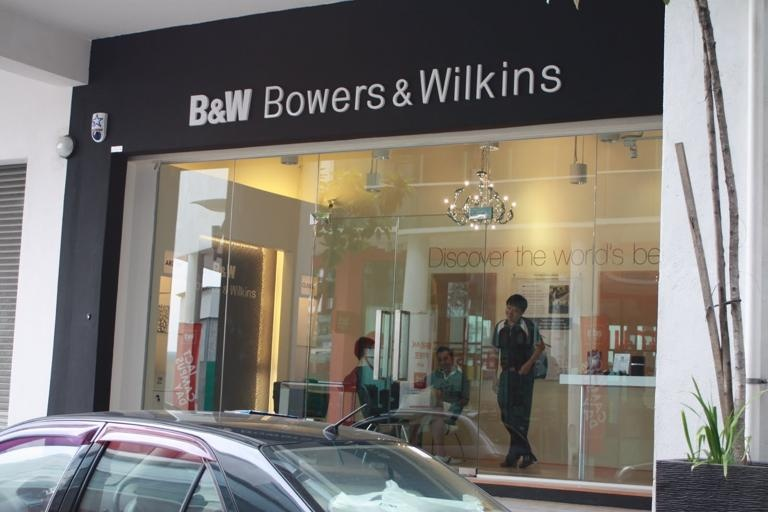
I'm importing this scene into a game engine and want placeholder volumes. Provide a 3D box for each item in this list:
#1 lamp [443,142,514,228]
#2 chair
[{"bbox_3d":[1.261,-0.919,9.095,0.975,1.111,0.924,1,-7,24],"label":"lamp"},{"bbox_3d":[0.332,2.119,8.986,1.766,0.904,1.036,5,-8,14],"label":"chair"}]
